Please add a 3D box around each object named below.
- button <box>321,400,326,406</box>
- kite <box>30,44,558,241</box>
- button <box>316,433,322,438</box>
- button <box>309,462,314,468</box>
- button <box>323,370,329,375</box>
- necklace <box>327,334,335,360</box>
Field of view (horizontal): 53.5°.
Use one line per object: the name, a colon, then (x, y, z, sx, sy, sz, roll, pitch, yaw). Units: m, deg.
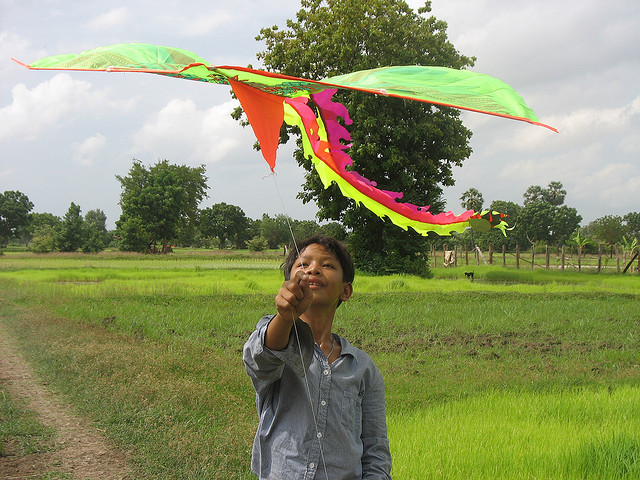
button: (0.032, 1.871, 7.252, 0.049, 0.050, 0.018, 1, -5, -10)
kite: (-0.087, -1.191, 7.813, 5.482, 1.871, 5.255, 2, 11, -30)
button: (-0.018, 2.219, 7.186, 0.045, 0.047, 0.011, -1, -12, -9)
button: (-0.100, 2.541, 7.134, 0.044, 0.046, 0.011, 0, -8, -3)
button: (0.066, 1.536, 7.335, 0.068, 0.047, 0.026, -3, 9, -18)
necklace: (0.130, 1.289, 7.529, 0.056, 0.213, 0.199, 1, 8, 10)
